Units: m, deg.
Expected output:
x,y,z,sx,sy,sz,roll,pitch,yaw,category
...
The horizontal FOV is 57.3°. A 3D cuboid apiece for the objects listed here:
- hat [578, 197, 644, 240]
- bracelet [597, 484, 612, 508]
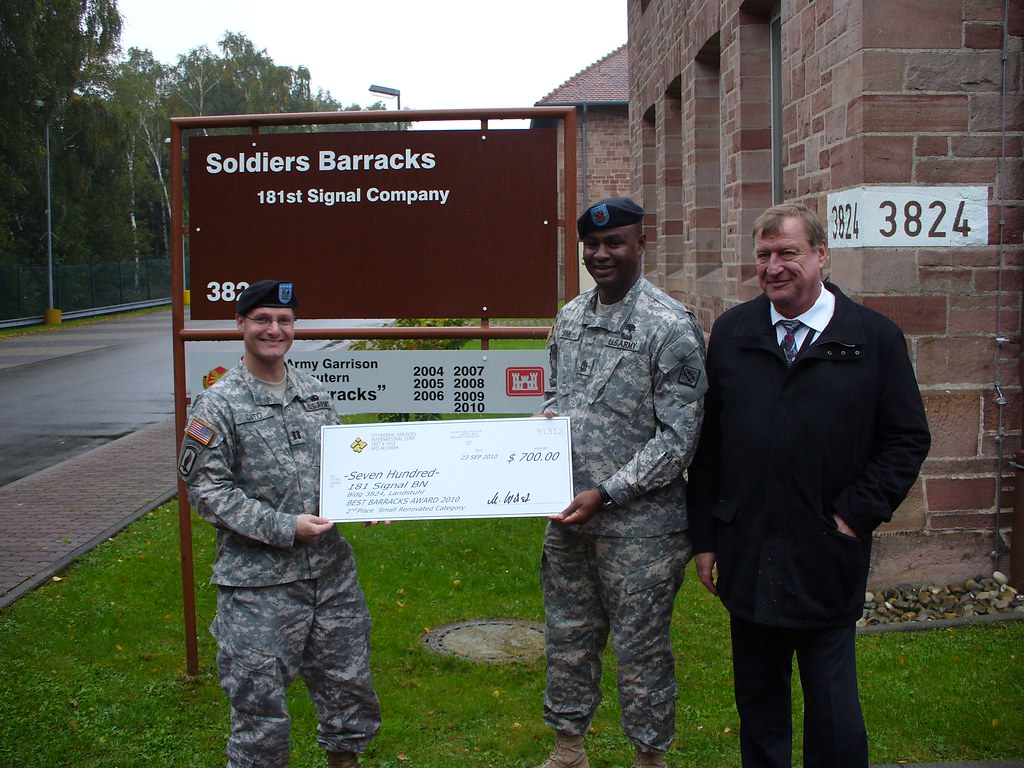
x,y,z,sx,sy,sz,roll,pitch,yaw,category
0.466,-0.789,4.500,0.304,0.191,0.193,0,7,4,hat
0.420,0.522,4.361,0.059,0.096,0.086,-25,-21,-9,bracelet
